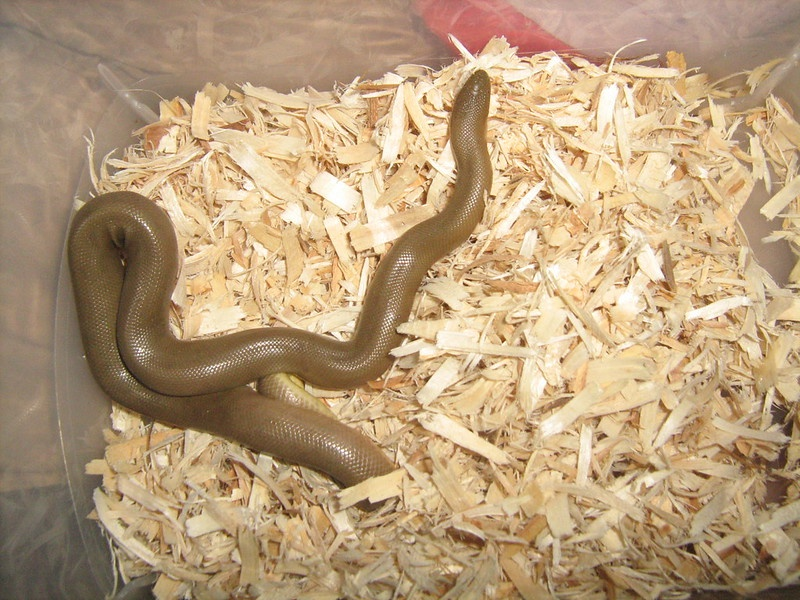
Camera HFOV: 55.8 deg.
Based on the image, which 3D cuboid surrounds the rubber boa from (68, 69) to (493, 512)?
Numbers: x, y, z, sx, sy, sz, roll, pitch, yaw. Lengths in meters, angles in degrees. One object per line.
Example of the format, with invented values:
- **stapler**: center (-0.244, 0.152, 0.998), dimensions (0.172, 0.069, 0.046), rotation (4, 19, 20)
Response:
- **rubber boa**: center (-0.487, -0.021, 2.936), dimensions (1.589, 0.840, 1.249), rotation (0, 47, -5)
